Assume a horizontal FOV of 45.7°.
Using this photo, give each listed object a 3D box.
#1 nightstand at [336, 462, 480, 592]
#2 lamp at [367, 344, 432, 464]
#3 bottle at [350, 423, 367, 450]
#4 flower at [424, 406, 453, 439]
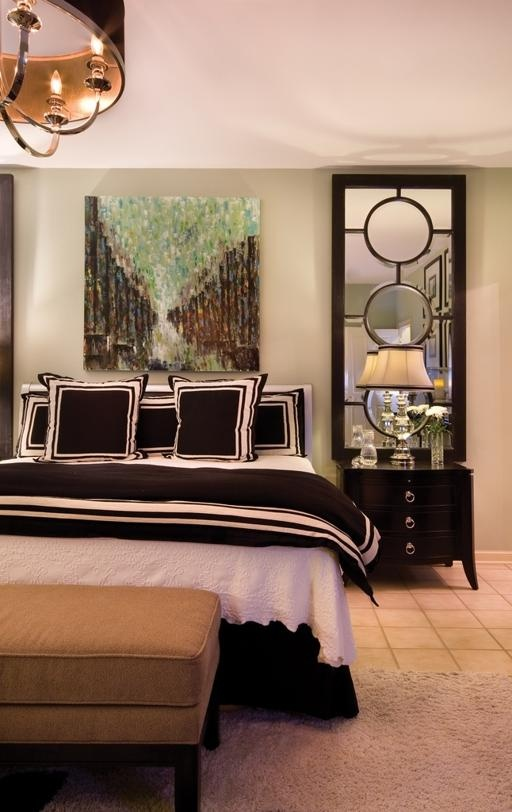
[{"bbox_3d":[0.818,0.573,3.303,0.656,0.687,0.578,-1,-3,5],"label":"nightstand"},{"bbox_3d":[0.798,-0.023,3.335,0.351,0.677,0.369,-5,7,-33],"label":"lamp"},{"bbox_3d":[0.594,0.180,3.522,0.115,0.193,0.121,2,0,0],"label":"bottle"},{"bbox_3d":[1.068,0.081,3.497,0.186,0.236,0.172,3,6,26],"label":"flower"}]
